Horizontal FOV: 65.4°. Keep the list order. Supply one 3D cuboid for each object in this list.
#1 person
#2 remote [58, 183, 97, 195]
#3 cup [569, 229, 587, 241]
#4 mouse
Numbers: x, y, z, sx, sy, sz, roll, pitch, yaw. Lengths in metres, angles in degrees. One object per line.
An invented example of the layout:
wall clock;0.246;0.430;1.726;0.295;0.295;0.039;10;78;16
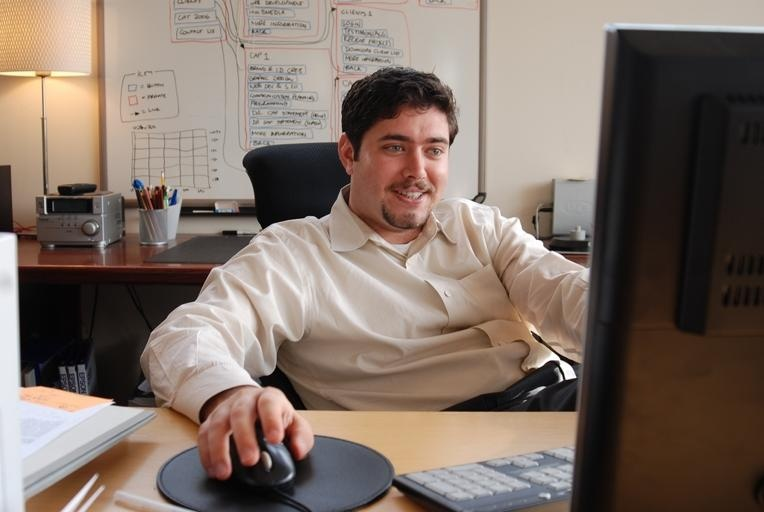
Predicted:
person;-0.139;0.054;1.406;0.718;0.742;0.894;2;-4;-23
remote;-1.073;-0.231;2.115;0.065;0.032;0.127;2;2;14
cup;0.678;-0.074;2.059;0.048;0.046;0.048;1;7;0
mouse;-0.145;0.243;0.716;0.064;0.040;0.118;-5;0;-22
